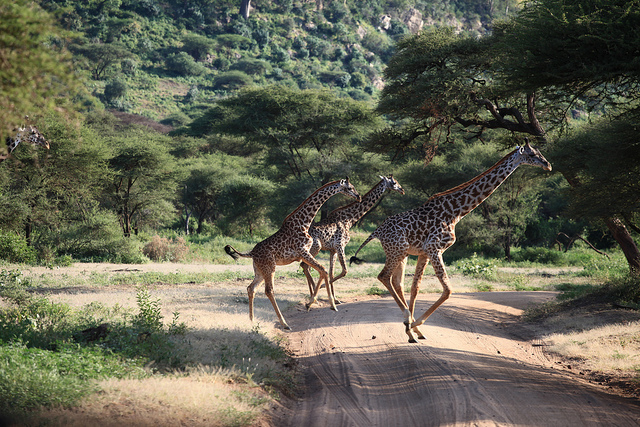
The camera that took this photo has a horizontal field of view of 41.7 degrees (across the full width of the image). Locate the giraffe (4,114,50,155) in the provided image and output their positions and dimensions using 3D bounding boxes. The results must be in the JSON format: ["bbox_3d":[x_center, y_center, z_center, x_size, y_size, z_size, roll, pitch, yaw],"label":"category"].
[{"bbox_3d":[-10.806,-3.028,31.031,1.431,1.856,5.342,-3,13,-20],"label":"giraffe"}]

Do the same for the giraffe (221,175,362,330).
[{"bbox_3d":[-1.012,1.606,33.041,3.637,5.612,1.398,-1,11,-12],"label":"giraffe"}]
